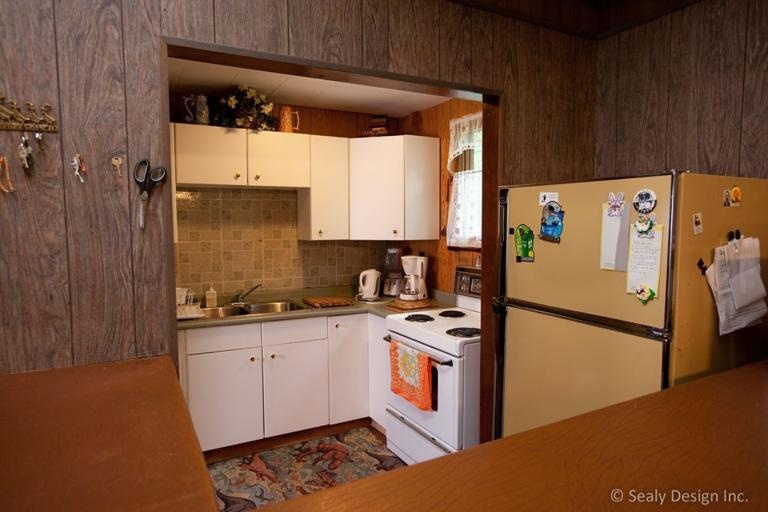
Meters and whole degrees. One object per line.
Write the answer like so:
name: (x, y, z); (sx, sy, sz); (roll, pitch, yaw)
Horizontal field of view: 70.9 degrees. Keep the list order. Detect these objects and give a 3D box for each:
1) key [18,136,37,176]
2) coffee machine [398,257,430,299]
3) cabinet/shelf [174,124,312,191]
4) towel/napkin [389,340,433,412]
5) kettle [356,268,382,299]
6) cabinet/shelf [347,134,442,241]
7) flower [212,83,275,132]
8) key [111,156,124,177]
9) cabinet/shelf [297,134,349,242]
key: (-1.545, -0.437, 2.318); (0.055, 0.174, 0.029); (-5, 8, -29)
coffee machine: (0.252, 0.203, 4.570); (0.283, 0.433, 0.345); (3, -4, -27)
cabinet/shelf: (-1.054, -0.703, 4.126); (1.002, 0.489, 0.354); (-1, -15, -19)
towel/napkin: (0.195, 0.776, 3.523); (0.061, 0.399, 0.472); (-5, 8, -24)
kettle: (-0.119, 0.241, 4.520); (0.255, 0.283, 0.148); (-5, 11, -42)
cabinet/shelf: (0.093, -0.555, 4.403); (0.748, 0.826, 0.229); (-1, 7, 6)
flower: (-1.054, -1.101, 4.025); (0.370, 0.205, 0.328); (0, 27, -4)
key: (-1.212, -0.410, 2.446); (0.052, 0.088, 0.010); (-3, 7, -16)
cabinet/shelf: (-0.493, -0.523, 4.657); (0.456, 1.309, 0.572); (0, 30, -5)
